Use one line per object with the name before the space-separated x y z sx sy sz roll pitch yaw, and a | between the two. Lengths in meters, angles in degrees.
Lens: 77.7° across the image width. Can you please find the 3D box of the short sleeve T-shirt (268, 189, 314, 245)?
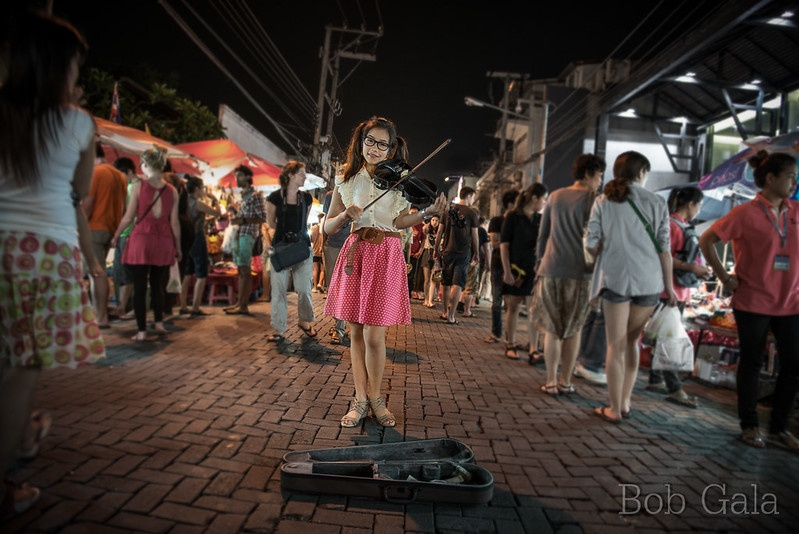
short sleeve T-shirt | -1.606 -0.738 7.395 0.650 0.818 0.433 -4 18 -29

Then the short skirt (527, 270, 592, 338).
short skirt | 1.897 0.433 5.859 0.606 0.810 0.465 3 17 19

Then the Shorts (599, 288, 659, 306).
Shorts | 2.301 0.319 4.990 0.367 0.107 0.249 8 -7 30

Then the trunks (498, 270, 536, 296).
trunks | 1.711 0.246 7.016 0.280 0.373 0.110 6 -6 7

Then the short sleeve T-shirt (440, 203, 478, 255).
short sleeve T-shirt | 1.035 -0.671 8.753 0.695 0.977 0.299 6 23 15

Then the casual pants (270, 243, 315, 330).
casual pants | -1.601 0.025 7.266 0.687 2.017 0.563 -1 12 -17

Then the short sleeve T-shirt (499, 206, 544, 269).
short sleeve T-shirt | 1.835 -0.405 7.119 0.710 0.860 0.461 1 -4 0

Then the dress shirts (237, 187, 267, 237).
dress shirts | -2.661 -0.907 8.598 0.514 0.927 0.729 1 -1 -45

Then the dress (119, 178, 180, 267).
dress | -3.369 -0.583 6.772 0.431 1.103 0.660 3 -1 39

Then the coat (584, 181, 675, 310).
coat | 2.336 -0.279 5.066 0.830 1.103 0.482 6 12 12

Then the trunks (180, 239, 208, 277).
trunks | -3.524 -0.167 8.487 0.534 0.738 0.406 11 9 40

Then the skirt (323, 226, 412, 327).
skirt | -0.261 0.087 4.837 0.812 0.935 0.620 4 -4 24
